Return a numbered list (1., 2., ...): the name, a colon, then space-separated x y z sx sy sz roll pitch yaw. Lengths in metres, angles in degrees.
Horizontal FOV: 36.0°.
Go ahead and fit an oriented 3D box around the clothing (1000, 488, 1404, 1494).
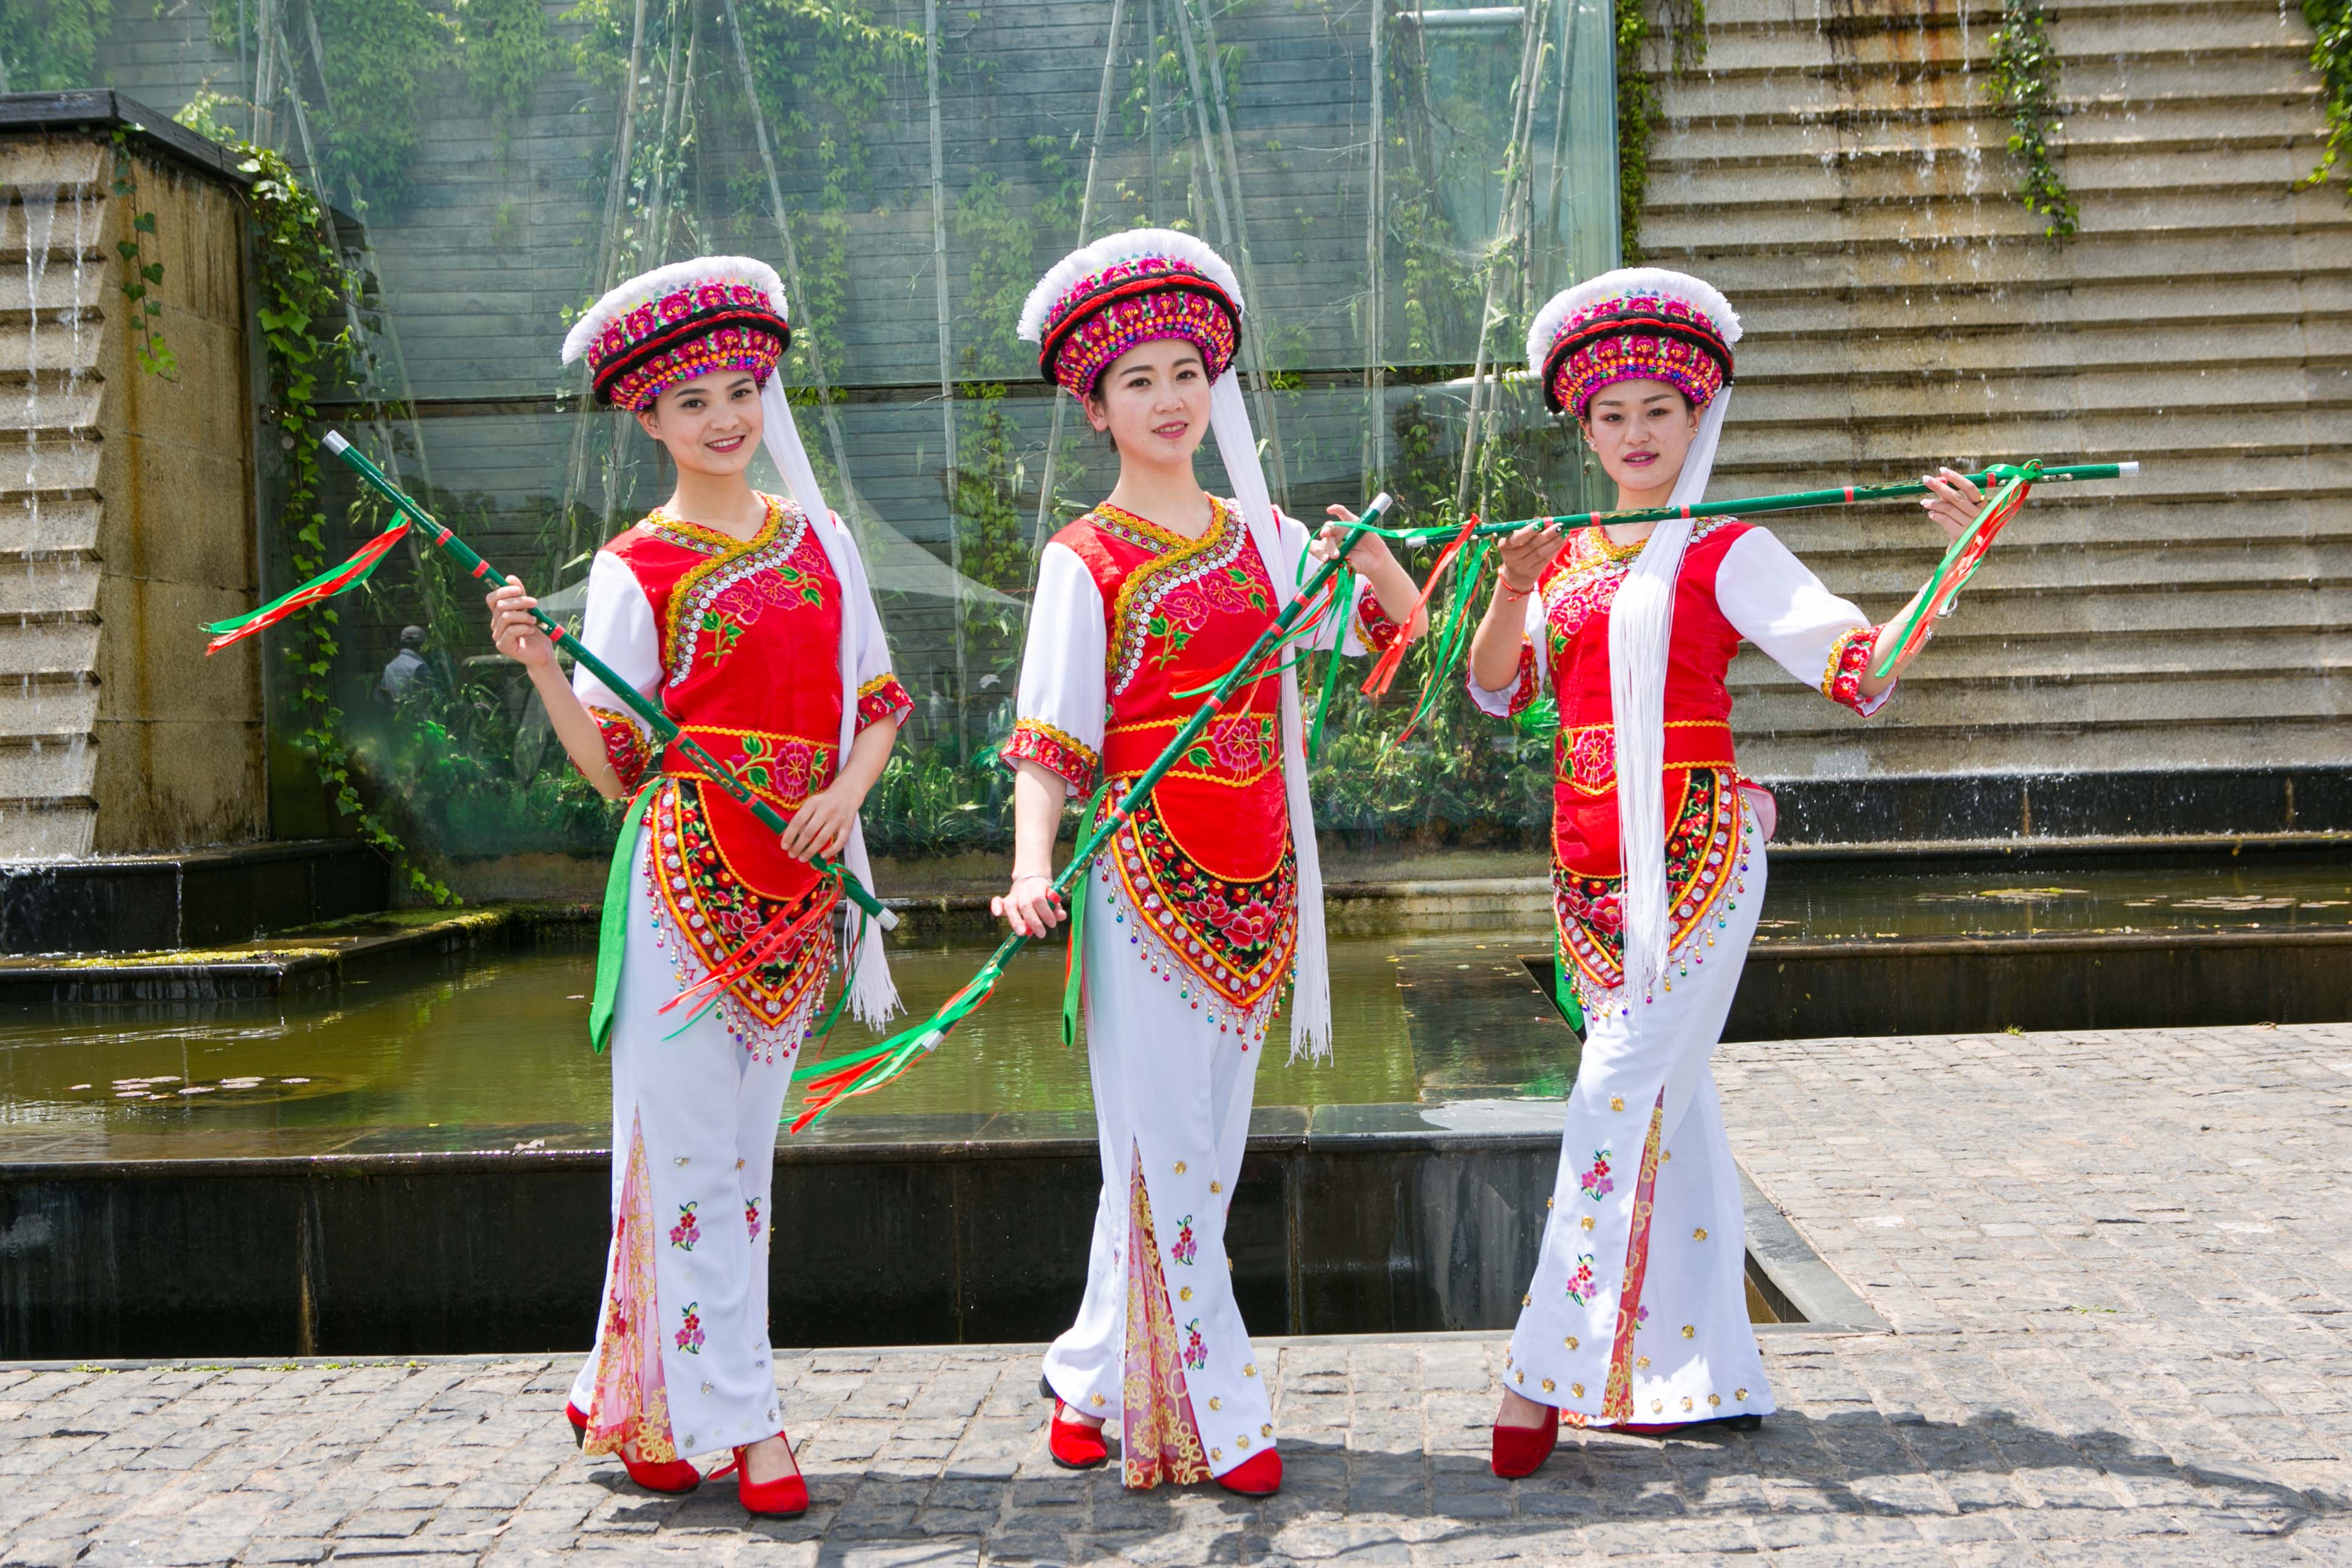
1. clothing: -0.043 0.677 11.796 0.944 3.179 0.419 -2 3 1
